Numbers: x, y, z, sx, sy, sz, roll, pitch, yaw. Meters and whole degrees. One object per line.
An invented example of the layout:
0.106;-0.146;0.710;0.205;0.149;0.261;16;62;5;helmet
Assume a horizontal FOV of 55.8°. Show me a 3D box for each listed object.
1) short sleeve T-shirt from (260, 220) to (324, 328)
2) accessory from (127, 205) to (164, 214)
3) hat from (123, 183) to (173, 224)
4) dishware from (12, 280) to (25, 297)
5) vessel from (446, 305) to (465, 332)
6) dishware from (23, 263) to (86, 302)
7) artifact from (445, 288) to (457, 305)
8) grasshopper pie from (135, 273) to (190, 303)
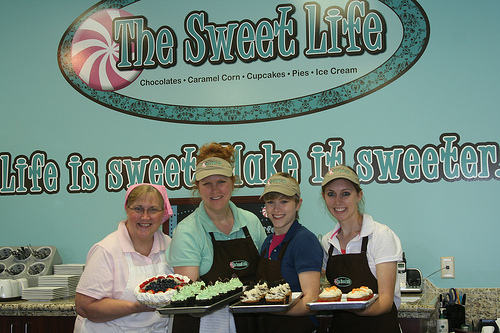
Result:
0.320;0.876;3.720;0.429;0.850;0.685;0;-13;-33;short sleeve T-shirt
-0.858;0.365;3.908;0.253;0.070;0.045;-1;-10;-12;accessory
-0.782;0.357;4.153;0.360;0.383;0.138;8;-4;-1;hat
-2.476;1.316;5.056;0.093;0.121;0.170;-1;-6;14;dishware
2.153;1.576;4.925;0.255;0.260;0.127;1;-10;-19;vessel
-2.085;1.283;5.167;0.357;0.184;0.493;1;-5;1;dishware
2.111;1.404;5.060;0.162;0.160;0.040;-17;-14;-31;artifact
-0.689;0.951;3.646;0.257;0.092;0.263;-2;7;-8;grasshopper pie
